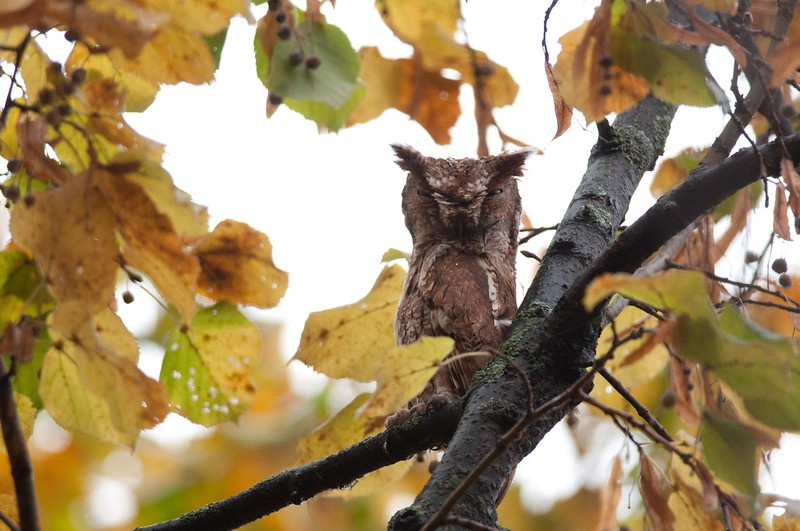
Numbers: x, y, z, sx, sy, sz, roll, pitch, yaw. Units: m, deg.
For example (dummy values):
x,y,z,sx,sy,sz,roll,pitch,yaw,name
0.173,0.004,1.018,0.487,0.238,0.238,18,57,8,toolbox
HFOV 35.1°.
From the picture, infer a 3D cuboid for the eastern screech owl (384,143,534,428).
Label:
x,y,z,sx,sy,sz,roll,pitch,yaw,name
0.201,-0.046,4.829,0.550,0.994,0.371,4,-47,4,eastern screech owl
